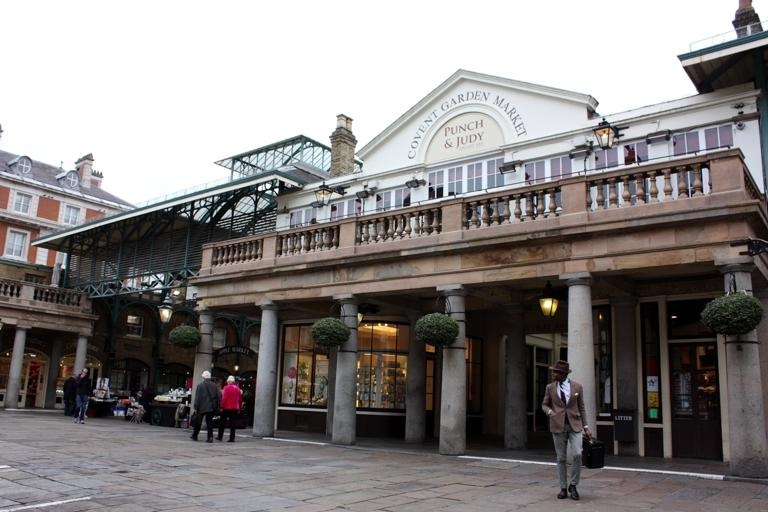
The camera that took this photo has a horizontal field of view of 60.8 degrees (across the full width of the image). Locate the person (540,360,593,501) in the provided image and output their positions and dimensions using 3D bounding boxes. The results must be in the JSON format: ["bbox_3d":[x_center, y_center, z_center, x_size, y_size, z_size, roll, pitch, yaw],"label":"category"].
[{"bbox_3d":[3.609,3.431,12.986,0.831,2.643,0.562,-4,-17,12],"label":"person"}]

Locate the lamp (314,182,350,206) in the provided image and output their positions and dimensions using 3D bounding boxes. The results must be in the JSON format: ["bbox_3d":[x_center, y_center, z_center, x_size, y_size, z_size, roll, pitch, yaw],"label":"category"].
[{"bbox_3d":[-2.123,-2.455,25.300,1.329,0.692,0.782,14,-19,-39],"label":"lamp"}]

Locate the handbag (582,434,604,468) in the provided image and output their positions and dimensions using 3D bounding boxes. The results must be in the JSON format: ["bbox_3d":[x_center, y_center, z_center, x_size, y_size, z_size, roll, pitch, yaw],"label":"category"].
[{"bbox_3d":[4.034,3.758,12.597,0.466,0.576,0.291,2,-16,-6],"label":"handbag"}]

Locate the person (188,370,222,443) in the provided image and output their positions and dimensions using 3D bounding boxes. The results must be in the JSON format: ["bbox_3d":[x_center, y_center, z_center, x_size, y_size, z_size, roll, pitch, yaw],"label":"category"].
[{"bbox_3d":[-5.293,4.454,19.502,0.753,2.093,1.366,4,-16,-14],"label":"person"}]

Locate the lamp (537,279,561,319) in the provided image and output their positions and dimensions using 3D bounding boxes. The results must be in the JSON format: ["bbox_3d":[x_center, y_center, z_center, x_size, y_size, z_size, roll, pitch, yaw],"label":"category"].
[{"bbox_3d":[4.465,1.168,17.701,0.715,0.891,0.626,6,-12,-14],"label":"lamp"}]

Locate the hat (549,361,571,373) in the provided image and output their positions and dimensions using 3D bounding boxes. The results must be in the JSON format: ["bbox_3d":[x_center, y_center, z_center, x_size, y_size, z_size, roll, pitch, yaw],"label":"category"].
[{"bbox_3d":[3.607,2.260,13.301,0.393,0.144,0.428,-3,-21,40],"label":"hat"}]
